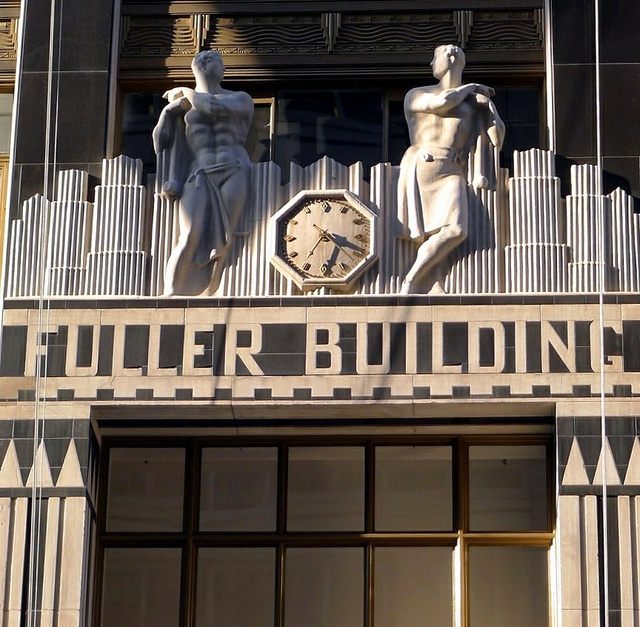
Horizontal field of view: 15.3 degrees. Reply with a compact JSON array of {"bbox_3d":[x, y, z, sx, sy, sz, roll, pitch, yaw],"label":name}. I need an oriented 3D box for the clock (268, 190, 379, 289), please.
[{"bbox_3d":[0.039,-0.858,28.675,1.105,1.159,0.133,-1,-24,3],"label":"clock"}]

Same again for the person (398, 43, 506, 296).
[{"bbox_3d":[1.508,-1.498,28.932,1.175,2.815,0.468,0,-20,2],"label":"person"}]

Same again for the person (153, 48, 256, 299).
[{"bbox_3d":[-1.438,-1.714,29.178,1.093,3.250,0.857,-2,-26,2],"label":"person"}]
